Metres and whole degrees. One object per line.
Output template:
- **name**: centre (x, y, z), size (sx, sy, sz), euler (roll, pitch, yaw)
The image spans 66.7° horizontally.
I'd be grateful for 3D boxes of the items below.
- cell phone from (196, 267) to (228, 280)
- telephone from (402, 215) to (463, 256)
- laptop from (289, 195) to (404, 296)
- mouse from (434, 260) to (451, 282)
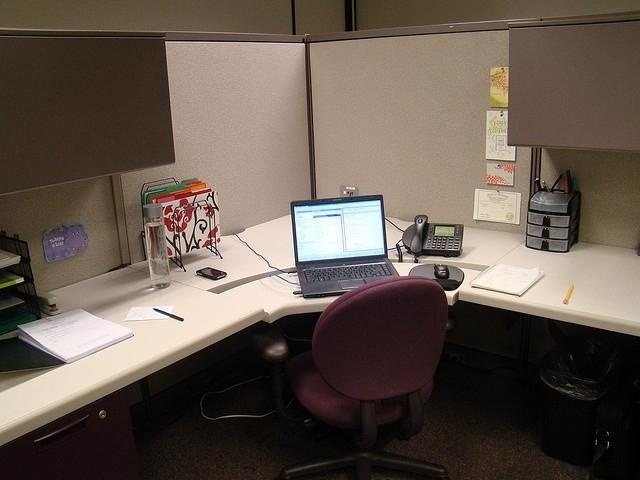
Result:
- **cell phone**: centre (-0.483, 0.138, 2.145), size (0.103, 0.021, 0.061), euler (15, 26, 33)
- **telephone**: centre (0.542, -0.015, 2.336), size (0.276, 0.154, 0.241), euler (6, 22, 24)
- **laptop**: centre (0.097, 0.007, 2.189), size (0.468, 0.306, 0.416), euler (-8, 28, -11)
- **mouse**: centre (0.522, 0.133, 2.074), size (0.048, 0.027, 0.088), euler (2, 22, 8)
